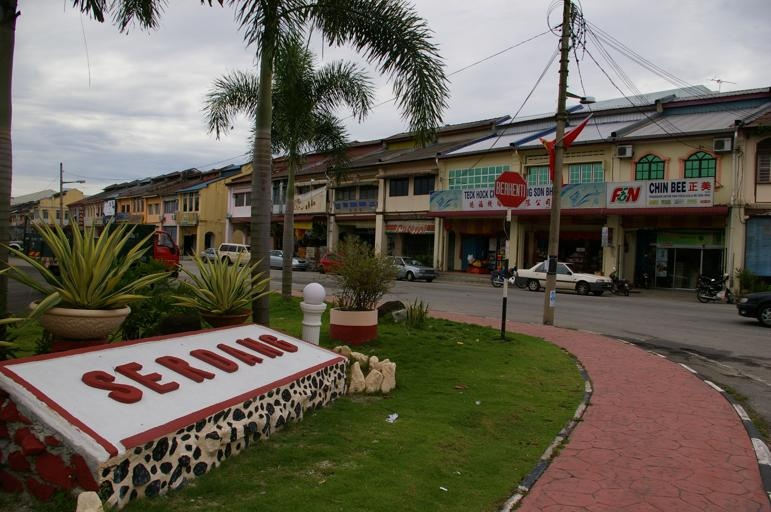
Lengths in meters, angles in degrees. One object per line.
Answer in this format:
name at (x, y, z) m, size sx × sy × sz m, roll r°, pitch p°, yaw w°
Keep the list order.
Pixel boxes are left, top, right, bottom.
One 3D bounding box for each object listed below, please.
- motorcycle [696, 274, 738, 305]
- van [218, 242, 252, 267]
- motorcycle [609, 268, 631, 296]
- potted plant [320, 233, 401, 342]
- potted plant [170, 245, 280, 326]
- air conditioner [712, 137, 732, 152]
motorcycle at (13.902, 1.462, 24.335) m, size 1.897 × 1.322 × 0.919 m, roll 1°, pitch -1°, yaw -15°
van at (-6.584, -0.115, 25.089) m, size 2.266 × 1.040 × 1.370 m, roll -1°, pitch 1°, yaw 36°
motorcycle at (10.441, 1.259, 26.068) m, size 0.882 × 0.973 × 1.470 m, roll 4°, pitch 6°, yaw 1°
potted plant at (-0.483, 0.672, 11.653) m, size 1.238 × 2.026 × 1.613 m, roll 4°, pitch 5°, yaw -3°
potted plant at (-2.748, 0.501, 9.659) m, size 1.359 × 0.995 × 1.296 m, roll -1°, pitch 4°, yaw -2°
air conditioner at (14.977, -4.852, 25.508) m, size 0.558 × 0.696 × 0.829 m, roll 4°, pitch -4°, yaw -41°
